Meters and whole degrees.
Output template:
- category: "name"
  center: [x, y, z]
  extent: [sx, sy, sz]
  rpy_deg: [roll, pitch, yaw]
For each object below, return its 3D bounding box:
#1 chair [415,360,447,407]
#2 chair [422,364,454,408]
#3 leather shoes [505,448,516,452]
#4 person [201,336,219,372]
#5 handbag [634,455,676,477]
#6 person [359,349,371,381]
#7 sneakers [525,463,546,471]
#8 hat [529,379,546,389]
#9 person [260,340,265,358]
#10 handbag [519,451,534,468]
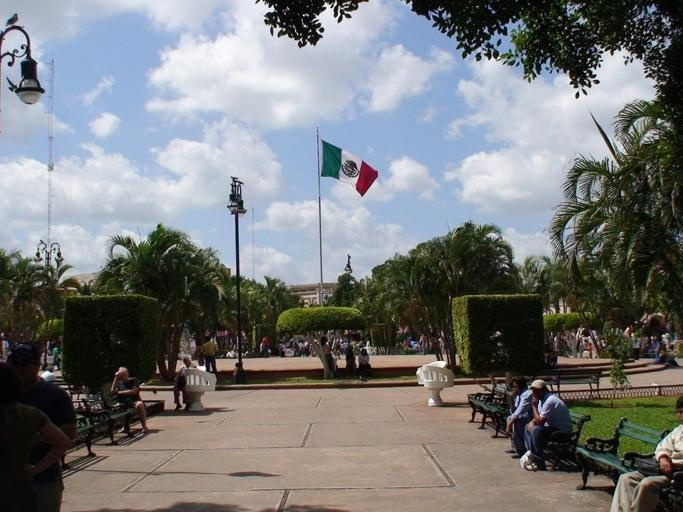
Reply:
- category: "chair"
  center: [2.569, 3.517, 18.683]
  extent: [1.014, 1.477, 1.004]
  rpy_deg: [-1, 3, 10]
- category: "chair"
  center: [2.705, 3.491, 18.637]
  extent: [0.996, 1.273, 0.974]
  rpy_deg: [9, -18, -42]
- category: "leather shoes"
  center: [3.029, 3.462, 12.120]
  extent: [0.187, 0.087, 0.070]
  rpy_deg: [4, -8, 3]
- category: "person"
  center: [-5.224, 3.908, 27.145]
  extent: [0.503, 1.818, 0.488]
  rpy_deg: [0, 25, -4]
- category: "handbag"
  center: [3.922, 2.639, 8.504]
  extent: [0.319, 0.131, 0.250]
  rpy_deg: [3, -7, -26]
- category: "person"
  center: [0.979, 4.420, 28.464]
  extent: [0.544, 1.280, 1.685]
  rpy_deg: [-3, -9, 1]
- category: "sneakers"
  center: [3.111, 3.328, 10.853]
  extent: [0.264, 0.128, 0.124]
  rpy_deg: [6, -5, 1]
- category: "hat"
  center: [3.263, 2.106, 11.212]
  extent: [0.197, 0.117, 0.155]
  rpy_deg: [17, -9, -3]
- category: "person"
  center: [-6.463, 7.558, 56.510]
  extent: [0.349, 1.431, 0.972]
  rpy_deg: [-2, -9, -6]
- category: "handbag"
  center: [3.016, 3.285, 11.040]
  extent: [0.142, 0.185, 0.252]
  rpy_deg: [5, -2, 2]
